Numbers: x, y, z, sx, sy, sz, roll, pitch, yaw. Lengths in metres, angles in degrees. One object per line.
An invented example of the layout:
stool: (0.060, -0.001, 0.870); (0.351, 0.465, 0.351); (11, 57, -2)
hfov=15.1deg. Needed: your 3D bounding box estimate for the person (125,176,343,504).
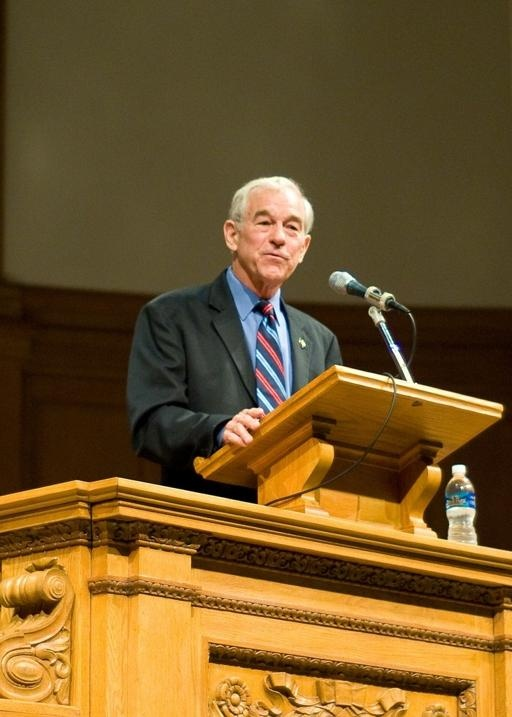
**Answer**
person: (-0.057, -0.066, 4.112); (0.439, 0.801, 0.723); (-3, -23, 4)
